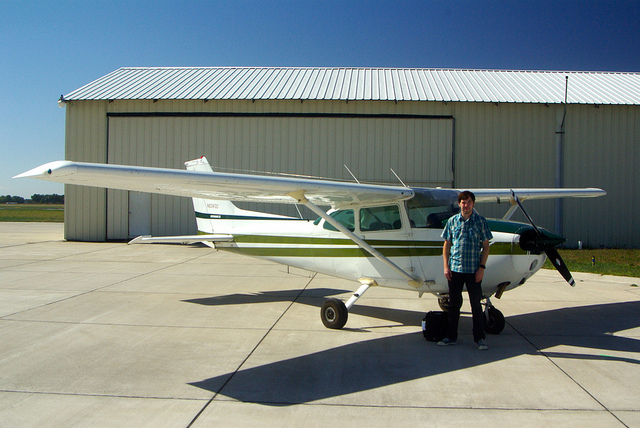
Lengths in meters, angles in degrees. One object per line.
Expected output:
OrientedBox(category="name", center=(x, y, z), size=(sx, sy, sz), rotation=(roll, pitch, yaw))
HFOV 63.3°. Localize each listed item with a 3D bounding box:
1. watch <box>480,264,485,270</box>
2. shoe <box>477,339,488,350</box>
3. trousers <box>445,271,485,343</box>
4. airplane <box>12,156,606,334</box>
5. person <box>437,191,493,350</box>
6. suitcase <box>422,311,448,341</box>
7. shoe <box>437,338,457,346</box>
OrientedBox(category="watch", center=(2.450, 0.776, 7.869), size=(0.068, 0.077, 0.119), rotation=(5, 14, 16))
OrientedBox(category="shoe", center=(2.463, 1.985, 7.900), size=(0.225, 0.089, 0.080), rotation=(-3, 5, -5))
OrientedBox(category="trousers", center=(2.175, 1.419, 8.051), size=(0.642, 1.027, 0.610), rotation=(0, -1, 7))
OrientedBox(category="airplane", center=(0.903, 0.572, 10.379), size=(9.467, 2.641, 8.352), rotation=(1, -3, -18))
OrientedBox(category="person", center=(2.217, 0.803, 7.891), size=(0.922, 2.210, 0.722), rotation=(0, -1, 19))
OrientedBox(category="suitcase", center=(1.838, 1.825, 8.302), size=(0.436, 0.551, 0.324), rotation=(4, -30, 7))
OrientedBox(category="shoe", center=(1.957, 1.979, 8.042), size=(0.295, 0.107, 0.104), rotation=(2, -3, 0))
